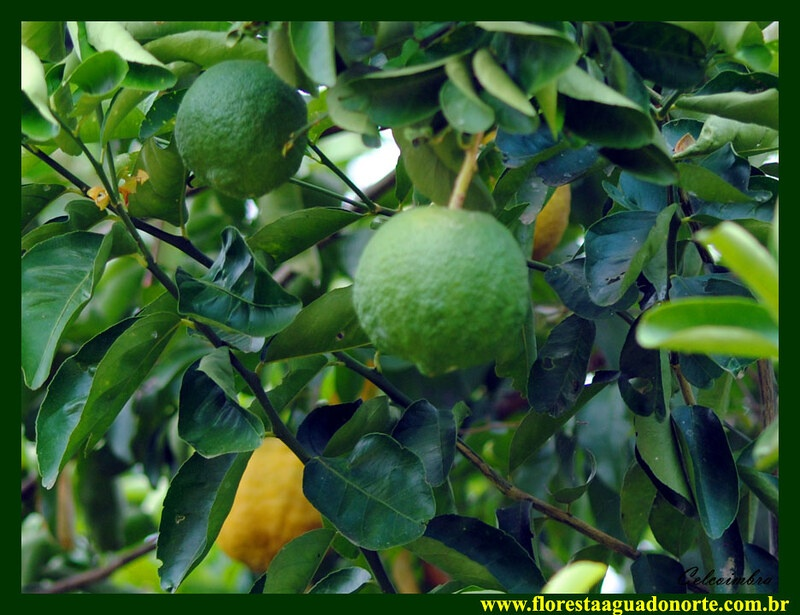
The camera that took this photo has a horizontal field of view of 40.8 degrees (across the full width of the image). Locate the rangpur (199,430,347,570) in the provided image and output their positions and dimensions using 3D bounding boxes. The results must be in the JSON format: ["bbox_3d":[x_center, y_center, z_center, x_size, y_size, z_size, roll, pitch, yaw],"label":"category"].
[{"bbox_3d":[-0.275,0.422,2.651,0.310,0.316,0.409,3,102,8],"label":"rangpur"}]

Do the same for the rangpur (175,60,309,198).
[{"bbox_3d":[-0.246,-0.273,1.903,0.214,0.224,0.268,5,87,4],"label":"rangpur"}]

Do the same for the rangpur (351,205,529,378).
[{"bbox_3d":[0.046,-0.020,1.719,0.292,0.273,0.283,2,102,-16],"label":"rangpur"}]
